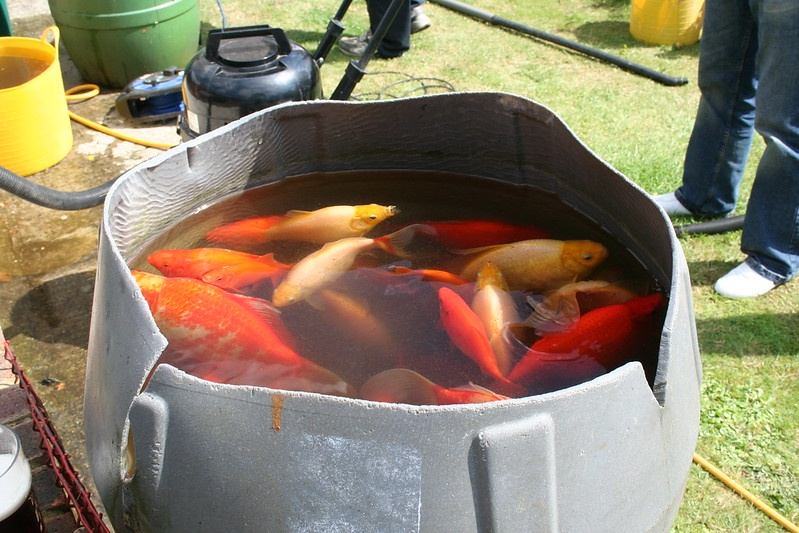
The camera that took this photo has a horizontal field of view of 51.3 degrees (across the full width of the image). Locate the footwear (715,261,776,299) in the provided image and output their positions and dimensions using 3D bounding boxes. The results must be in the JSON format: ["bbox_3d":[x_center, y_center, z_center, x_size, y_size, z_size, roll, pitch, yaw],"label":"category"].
[{"bbox_3d":[1.486,0.063,3.593,0.247,0.101,0.130,-9,68,-4],"label":"footwear"}]

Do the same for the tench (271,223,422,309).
[{"bbox_3d":[-0.177,0.006,2.730,0.350,0.146,0.061,-25,73,-17],"label":"tench"}]

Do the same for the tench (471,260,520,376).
[{"bbox_3d":[0.275,0.155,2.625,0.107,0.150,0.360,-5,64,0],"label":"tench"}]

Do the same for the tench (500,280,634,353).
[{"bbox_3d":[0.529,0.132,2.711,0.381,0.182,0.183,-21,66,-5],"label":"tench"}]

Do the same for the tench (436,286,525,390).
[{"bbox_3d":[0.231,0.210,2.605,0.119,0.166,0.392,-18,65,-7],"label":"tench"}]

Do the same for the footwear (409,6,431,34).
[{"bbox_3d":[0.125,-1.698,5.741,0.144,0.115,0.212,-31,47,-17],"label":"footwear"}]

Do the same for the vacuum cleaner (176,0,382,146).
[{"bbox_3d":[-0.511,-0.764,3.442,0.718,0.744,0.453,-7,47,-9],"label":"vacuum cleaner"}]
